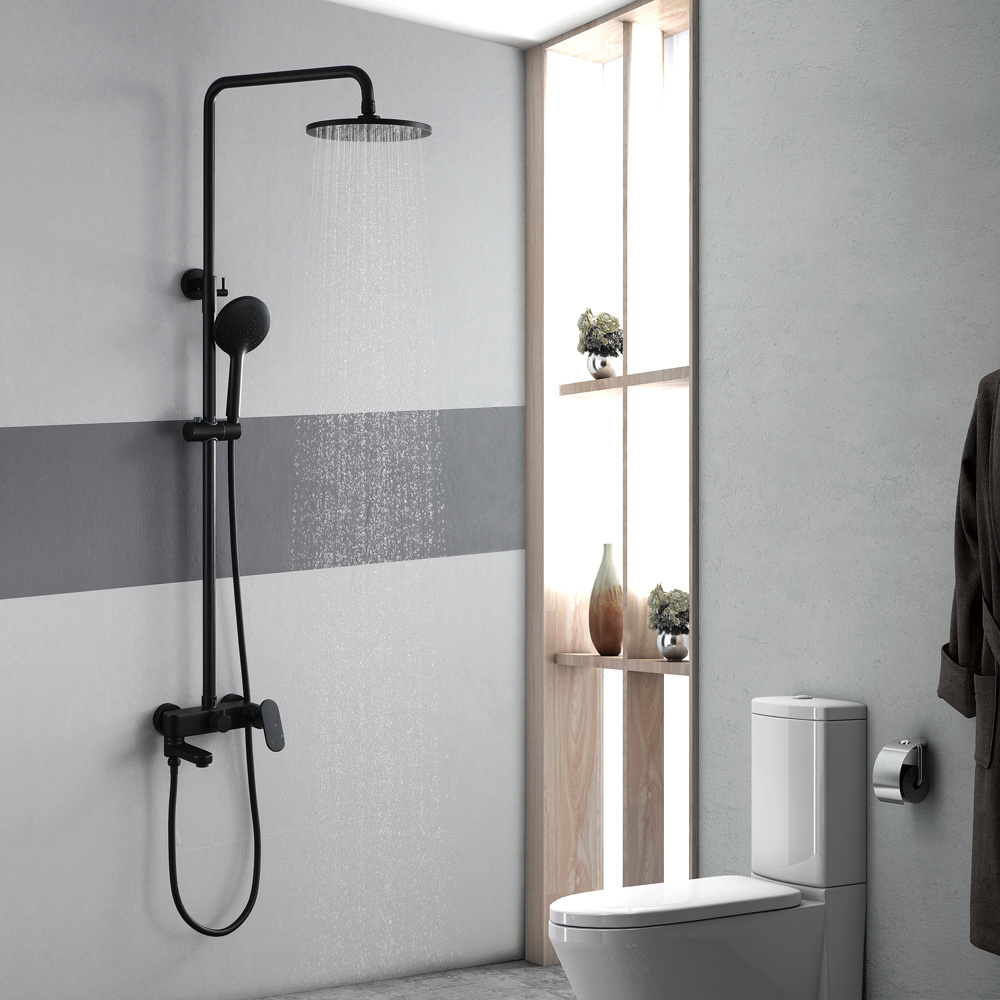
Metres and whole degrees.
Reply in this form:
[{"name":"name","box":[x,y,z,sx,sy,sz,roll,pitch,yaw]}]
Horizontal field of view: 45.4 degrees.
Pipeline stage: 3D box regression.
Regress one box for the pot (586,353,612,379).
[{"name":"pot","box":[0.263,-0.349,3.160,0.049,0.082,0.060,-3,-4,8]}]

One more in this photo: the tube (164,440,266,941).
[{"name":"tube","box":[-0.590,0.352,2.536,0.201,1.528,0.056,0,26,-17]}]

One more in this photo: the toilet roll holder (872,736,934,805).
[{"name":"toilet roll holder","box":[0.755,0.505,2.246,0.079,0.151,0.106,-4,-7,44]}]

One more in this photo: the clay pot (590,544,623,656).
[{"name":"clay pot","box":[0.275,0.263,3.154,0.084,0.289,0.063,0,1,6]}]

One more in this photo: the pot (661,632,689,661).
[{"name":"pot","box":[0.421,0.353,2.897,0.052,0.062,0.064,0,-4,2]}]
